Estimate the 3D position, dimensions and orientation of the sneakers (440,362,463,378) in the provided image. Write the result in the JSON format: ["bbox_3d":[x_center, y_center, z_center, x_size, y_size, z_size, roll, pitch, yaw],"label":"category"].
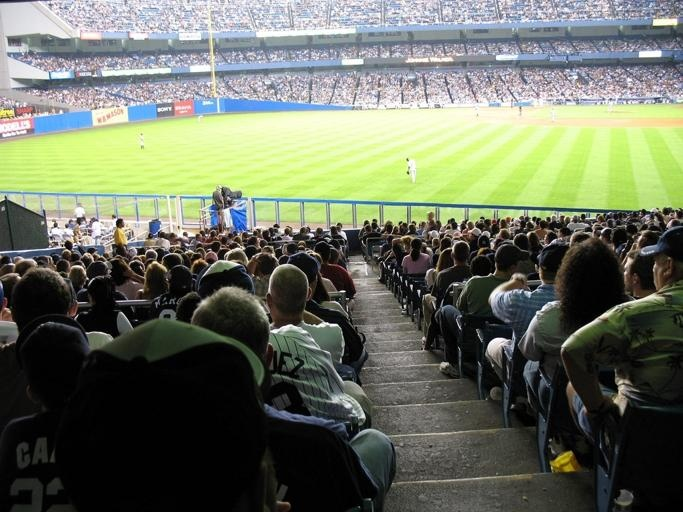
[{"bbox_3d":[1.080,1.112,5.980,0.194,0.083,0.087,8,13,38],"label":"sneakers"}]

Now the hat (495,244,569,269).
[{"bbox_3d":[1.478,-0.029,4.638,0.502,0.212,0.305,5,-1,13],"label":"hat"}]

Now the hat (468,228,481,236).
[{"bbox_3d":[2.983,-0.537,13.461,0.370,0.135,0.265,6,6,25],"label":"hat"}]

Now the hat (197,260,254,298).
[{"bbox_3d":[-0.705,0.128,3.711,0.386,0.230,0.255,-2,5,-8],"label":"hat"}]

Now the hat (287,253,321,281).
[{"bbox_3d":[-0.284,0.067,4.641,0.174,0.142,0.248,4,-1,2],"label":"hat"}]
